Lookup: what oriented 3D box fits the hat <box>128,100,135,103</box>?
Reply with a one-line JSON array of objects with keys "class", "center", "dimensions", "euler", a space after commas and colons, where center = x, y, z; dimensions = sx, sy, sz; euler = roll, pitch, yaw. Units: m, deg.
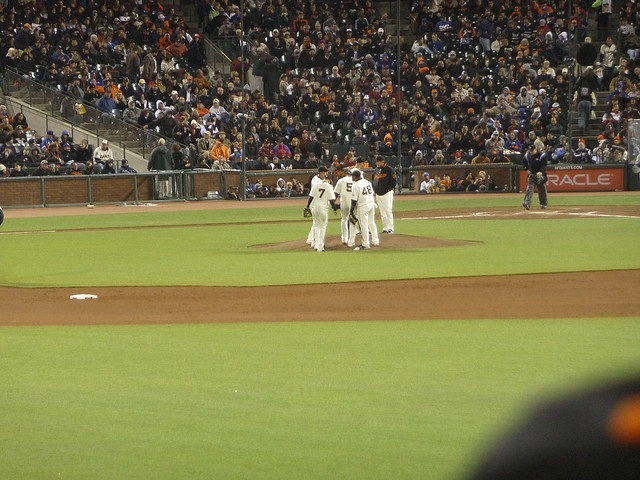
[{"class": "hat", "center": [-7.433, -5.384, 39.826], "dimensions": [0.193, 0.103, 0.192], "euler": [4, 11, 29]}]

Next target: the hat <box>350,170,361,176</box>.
[{"class": "hat", "center": [0.778, -1.488, 22.744], "dimensions": [0.143, 0.136, 0.140], "euler": [-6, 7, -39]}]

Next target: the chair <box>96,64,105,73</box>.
[{"class": "chair", "center": [-8.967, -6.993, 41.451], "dimensions": [0.458, 0.327, 0.444], "euler": [1, 1, -17]}]

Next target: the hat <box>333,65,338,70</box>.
[{"class": "hat", "center": [0.638, -7.449, 44.204], "dimensions": [0.236, 0.293, 0.301], "euler": [0, 0, 2]}]

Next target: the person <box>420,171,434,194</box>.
[{"class": "person", "center": [4.248, -2.278, 40.583], "dimensions": [0.602, 0.778, 0.295], "euler": [-5, -14, 9]}]

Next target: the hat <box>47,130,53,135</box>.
[{"class": "hat", "center": [-9.976, -3.932, 37.385], "dimensions": [0.196, 0.228, 0.255], "euler": [8, 27, -17]}]

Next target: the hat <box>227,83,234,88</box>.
[{"class": "hat", "center": [-3.772, -6.454, 42.546], "dimensions": [0.245, 0.294, 0.310], "euler": [2, 17, 0]}]

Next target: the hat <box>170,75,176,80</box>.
[{"class": "hat", "center": [-6.090, -6.659, 41.882], "dimensions": [0.223, 0.273, 0.283], "euler": [-3, -1, -16]}]

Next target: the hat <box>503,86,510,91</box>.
[{"class": "hat", "center": [7.858, -6.356, 43.055], "dimensions": [0.253, 0.132, 0.338], "euler": [3, 6, 9]}]

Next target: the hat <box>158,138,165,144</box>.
[{"class": "hat", "center": [-5.855, -3.628, 37.529], "dimensions": [0.202, 0.253, 0.251], "euler": [1, 29, -4]}]

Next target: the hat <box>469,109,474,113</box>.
[{"class": "hat", "center": [6.229, -5.325, 42.059], "dimensions": [0.208, 0.047, 0.203], "euler": [-20, 27, -38]}]

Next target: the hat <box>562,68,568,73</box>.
[{"class": "hat", "center": [10.819, -7.453, 44.951], "dimensions": [0.202, 0.212, 0.278], "euler": [1, 1, 14]}]

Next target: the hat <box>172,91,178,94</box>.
[{"class": "hat", "center": [-5.865, -5.867, 40.680], "dimensions": [0.204, 0.106, 0.290], "euler": [-4, 9, -17]}]

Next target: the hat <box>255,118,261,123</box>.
[{"class": "hat", "center": [-2.530, -4.802, 41.079], "dimensions": [0.336, 0.164, 0.446], "euler": [-2, 8, -5]}]

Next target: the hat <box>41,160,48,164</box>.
[{"class": "hat", "center": [-9.694, -2.687, 35.646], "dimensions": [0.134, 0.170, 0.160], "euler": [-6, 34, -41]}]

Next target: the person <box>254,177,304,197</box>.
[{"class": "person", "center": [-1.697, -2.021, 39.287], "dimensions": [2.175, 0.712, 0.450], "euler": [-3, -13, 0]}]

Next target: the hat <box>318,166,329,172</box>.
[{"class": "hat", "center": [0.028, -1.586, 22.576], "dimensions": [0.120, 0.149, 0.144], "euler": [5, 2, 27]}]

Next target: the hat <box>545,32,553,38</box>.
[{"class": "hat", "center": [10.419, -9.328, 46.414], "dimensions": [0.279, 0.354, 0.362], "euler": [5, 20, 5]}]

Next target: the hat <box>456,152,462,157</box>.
[{"class": "hat", "center": [5.478, -3.370, 40.388], "dimensions": [0.216, 0.117, 0.207], "euler": [-3, 5, -18]}]

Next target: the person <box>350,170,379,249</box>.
[{"class": "person", "center": [0.956, -0.692, 23.031], "dimensions": [0.575, 1.793, 1.209], "euler": [-3, -13, 4]}]

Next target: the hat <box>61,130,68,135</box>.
[{"class": "hat", "center": [-9.508, -3.973, 37.731], "dimensions": [0.263, 0.181, 0.365], "euler": [-1, 2, -43]}]

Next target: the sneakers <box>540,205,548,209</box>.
[{"class": "sneakers", "center": [7.127, -1.045, 32.391], "dimensions": [0.103, 0.122, 0.300], "euler": [-4, -1, 7]}]

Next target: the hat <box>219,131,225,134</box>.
[{"class": "hat", "center": [-3.860, -4.179, 39.719], "dimensions": [0.209, 0.054, 0.201], "euler": [-6, 7, -33]}]

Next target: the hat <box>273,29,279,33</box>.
[{"class": "hat", "center": [-2.056, -9.572, 46.667], "dimensions": [0.235, 0.171, 0.259], "euler": [-2, 6, -4]}]

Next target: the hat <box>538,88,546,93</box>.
[{"class": "hat", "center": [9.439, -6.289, 43.213], "dimensions": [0.207, 0.211, 0.279], "euler": [-6, -4, -12]}]

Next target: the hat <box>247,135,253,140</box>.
[{"class": "hat", "center": [-2.722, -3.986, 39.843], "dimensions": [0.307, 0.191, 0.089], "euler": [9, -18, -41]}]
